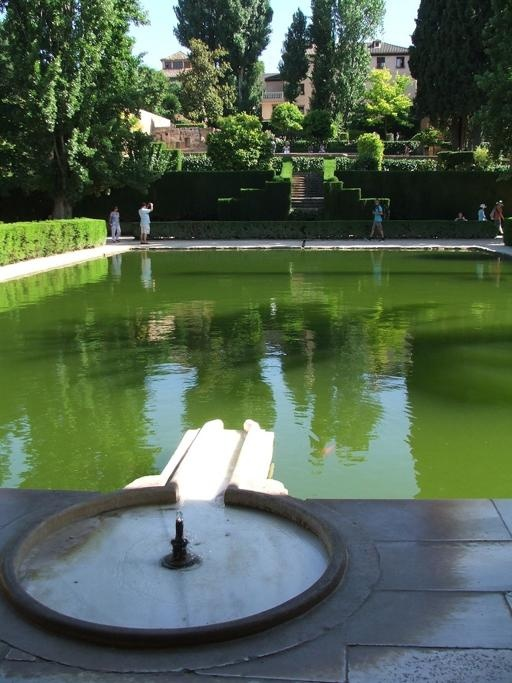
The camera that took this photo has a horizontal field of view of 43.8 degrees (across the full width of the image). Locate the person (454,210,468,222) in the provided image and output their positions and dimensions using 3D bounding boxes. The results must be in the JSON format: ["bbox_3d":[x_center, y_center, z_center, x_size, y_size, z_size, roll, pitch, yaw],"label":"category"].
[{"bbox_3d":[9.666,-5.904,29.944,0.845,0.571,0.408,2,50,15],"label":"person"}]

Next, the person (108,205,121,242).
[{"bbox_3d":[-6.123,-5.167,27.907,0.363,1.559,1.966,-5,7,-14],"label":"person"}]

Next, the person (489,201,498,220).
[{"bbox_3d":[10.579,-5.681,28.048,0.389,0.823,1.405,-1,7,18],"label":"person"}]
